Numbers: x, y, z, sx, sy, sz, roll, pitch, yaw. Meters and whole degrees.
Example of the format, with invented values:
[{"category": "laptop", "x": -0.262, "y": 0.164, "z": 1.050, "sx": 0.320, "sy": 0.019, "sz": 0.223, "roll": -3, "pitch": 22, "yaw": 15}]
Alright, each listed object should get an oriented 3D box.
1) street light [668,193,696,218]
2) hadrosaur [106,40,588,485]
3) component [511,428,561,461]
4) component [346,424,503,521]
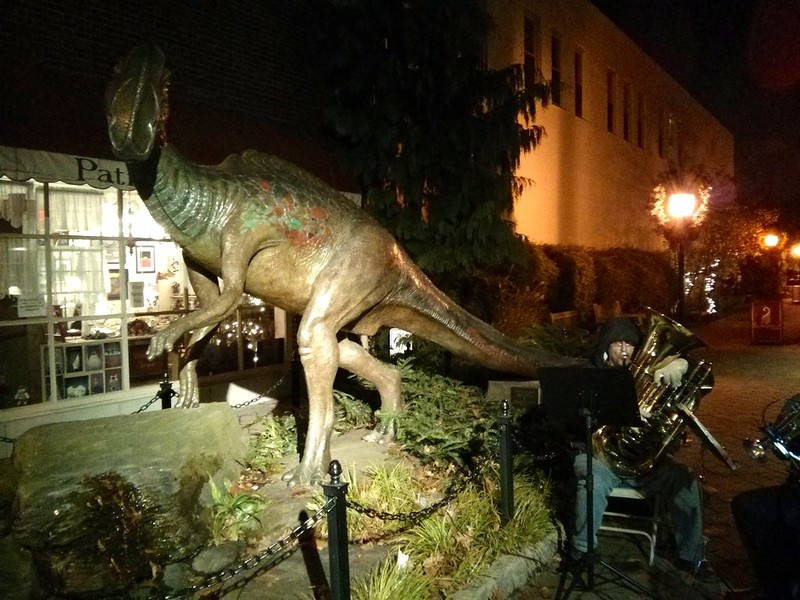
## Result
[{"category": "street light", "x": 6.352, "y": -2.184, "z": 12.856, "sx": 0.488, "sy": 0.566, "sz": 0.455, "roll": -3, "pitch": -3, "yaw": 37}, {"category": "hadrosaur", "x": -0.309, "y": -0.123, "z": 5.742, "sx": 5.249, "sy": 3.617, "sz": 1.787, "roll": 2, "pitch": 5, "yaw": -33}, {"category": "component", "x": 1.428, "y": 1.516, "z": 5.878, "sx": 0.433, "sy": 0.124, "sz": 0.440, "roll": -1, "pitch": 17, "yaw": 5}, {"category": "component", "x": 0.255, "y": 1.559, "z": 5.065, "sx": 1.366, "sy": 0.608, "sz": 1.138, "roll": 9, "pitch": 9, "yaw": 42}]
